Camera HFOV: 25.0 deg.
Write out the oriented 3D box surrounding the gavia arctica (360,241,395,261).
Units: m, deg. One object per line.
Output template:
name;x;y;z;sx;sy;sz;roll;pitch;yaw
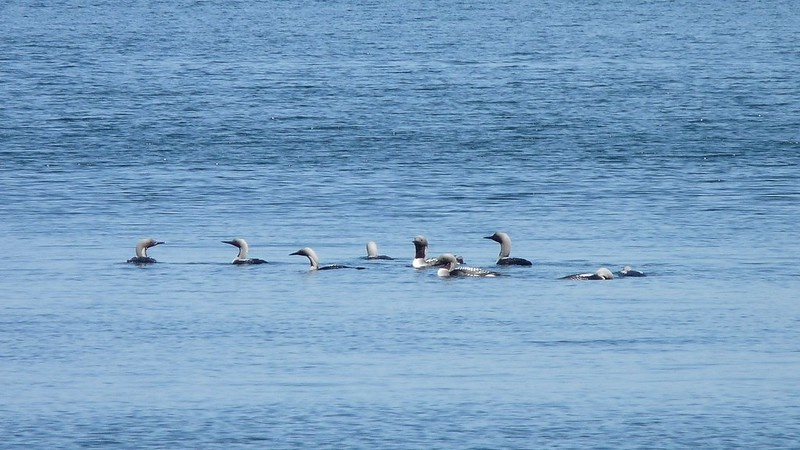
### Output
gavia arctica;-1.386;1.063;88.308;2.148;0.648;0.685;25;20;37
